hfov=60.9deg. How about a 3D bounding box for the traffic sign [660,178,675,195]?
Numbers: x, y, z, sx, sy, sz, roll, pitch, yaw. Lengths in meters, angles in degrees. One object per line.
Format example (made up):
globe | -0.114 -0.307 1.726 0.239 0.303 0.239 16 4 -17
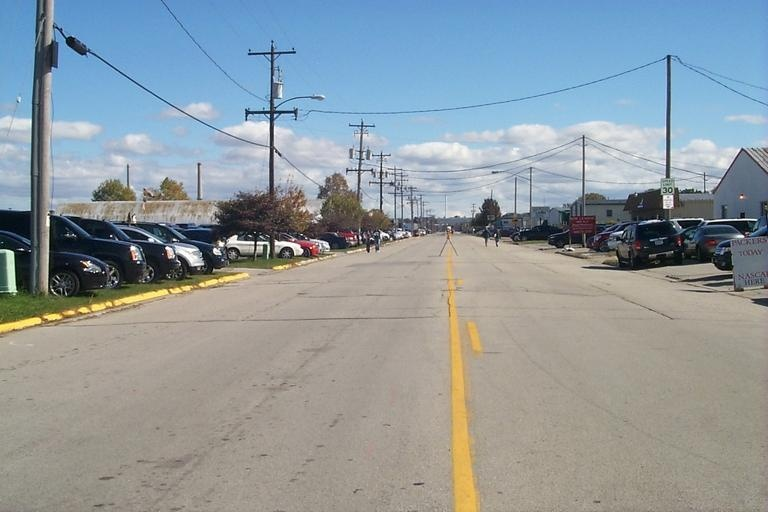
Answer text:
traffic sign | 13.484 -3.335 30.995 0.486 0.738 0.649 2 9 15
